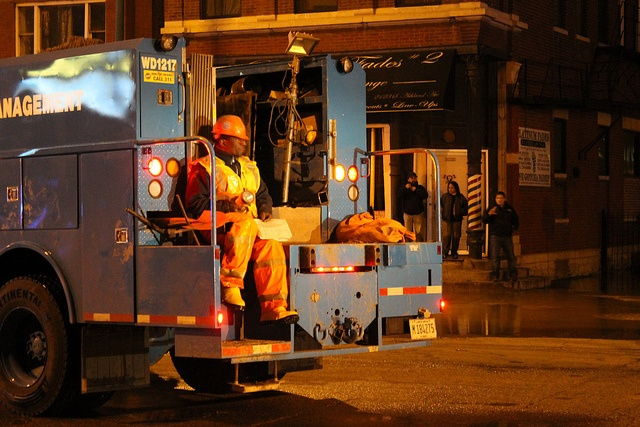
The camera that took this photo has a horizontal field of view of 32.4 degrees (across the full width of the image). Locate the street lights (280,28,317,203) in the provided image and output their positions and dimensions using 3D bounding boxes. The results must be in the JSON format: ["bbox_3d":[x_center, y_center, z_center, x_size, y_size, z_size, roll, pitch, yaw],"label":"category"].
[{"bbox_3d":[-0.346,-1.496,18.767,0.690,3.324,0.868,10,37,7],"label":"street lights"}]

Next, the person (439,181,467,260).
[{"bbox_3d":[3.400,0.189,28.396,0.644,1.982,0.589,2,7,7],"label":"person"}]

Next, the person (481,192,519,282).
[{"bbox_3d":[4.494,0.594,27.619,0.851,2.244,0.809,3,7,15],"label":"person"}]

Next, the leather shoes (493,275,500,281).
[{"bbox_3d":[4.354,1.626,27.514,0.131,0.247,0.130,1,-15,9],"label":"leather shoes"}]

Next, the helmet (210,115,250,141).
[{"bbox_3d":[-1.394,-1.303,16.705,0.450,0.302,0.336,1,3,12],"label":"helmet"}]

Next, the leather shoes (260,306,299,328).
[{"bbox_3d":[-0.588,1.470,15.660,0.539,0.280,0.221,-5,-10,12],"label":"leather shoes"}]

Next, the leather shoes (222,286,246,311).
[{"bbox_3d":[-1.222,1.209,15.646,0.342,0.241,0.207,-2,-3,41],"label":"leather shoes"}]
